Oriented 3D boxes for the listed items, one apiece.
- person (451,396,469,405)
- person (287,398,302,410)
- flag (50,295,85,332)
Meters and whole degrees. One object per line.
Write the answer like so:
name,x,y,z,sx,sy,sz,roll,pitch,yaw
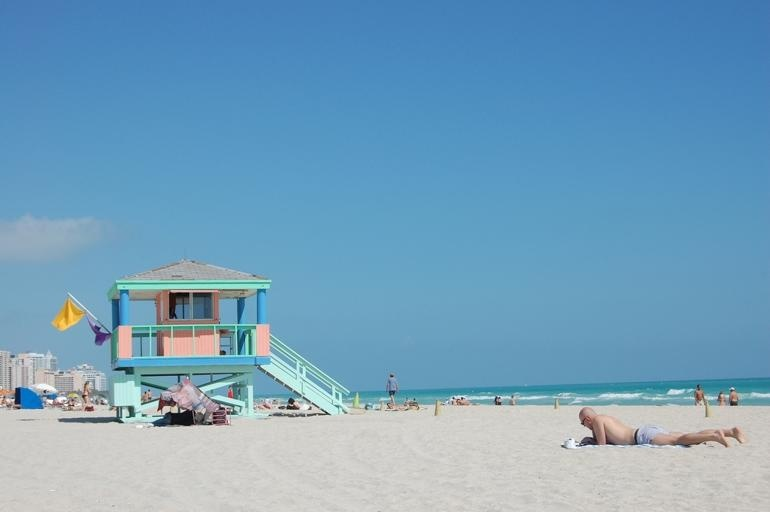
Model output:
person,4.441,8.476,73.183,0.894,0.442,1.209,2,-2,-2
person,-4.341,7.205,60.778,0.549,0.648,0.726,7,-22,-20
flag,-12.899,2.343,51.574,1.102,1.376,0.882,1,-9,-18
